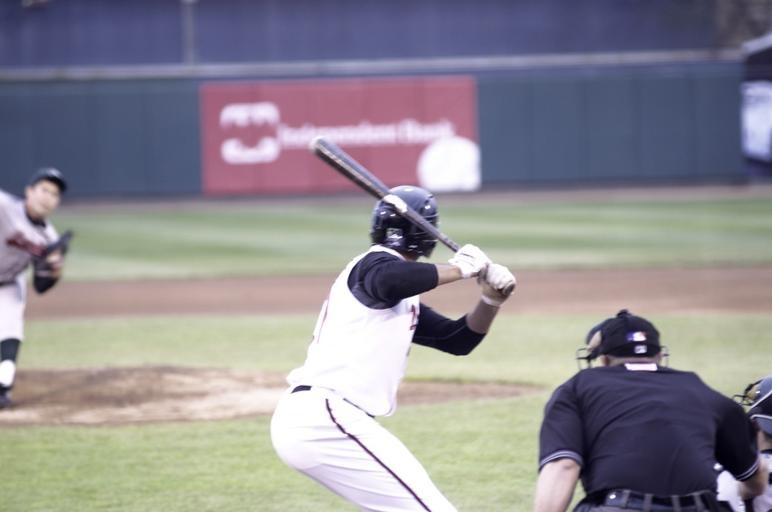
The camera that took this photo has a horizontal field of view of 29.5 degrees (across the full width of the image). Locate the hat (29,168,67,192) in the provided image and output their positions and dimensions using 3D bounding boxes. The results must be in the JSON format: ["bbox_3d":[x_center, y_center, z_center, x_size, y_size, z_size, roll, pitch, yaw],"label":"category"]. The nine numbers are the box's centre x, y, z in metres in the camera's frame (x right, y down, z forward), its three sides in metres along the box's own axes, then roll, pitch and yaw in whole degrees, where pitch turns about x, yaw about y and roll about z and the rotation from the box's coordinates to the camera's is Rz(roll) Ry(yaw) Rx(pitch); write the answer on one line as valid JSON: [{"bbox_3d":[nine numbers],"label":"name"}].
[{"bbox_3d":[-4.461,-0.988,19.546,0.436,0.318,0.306,-1,13,-11],"label":"hat"}]
